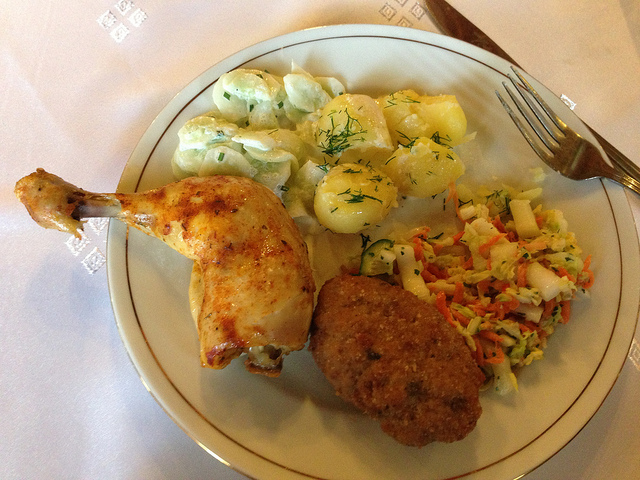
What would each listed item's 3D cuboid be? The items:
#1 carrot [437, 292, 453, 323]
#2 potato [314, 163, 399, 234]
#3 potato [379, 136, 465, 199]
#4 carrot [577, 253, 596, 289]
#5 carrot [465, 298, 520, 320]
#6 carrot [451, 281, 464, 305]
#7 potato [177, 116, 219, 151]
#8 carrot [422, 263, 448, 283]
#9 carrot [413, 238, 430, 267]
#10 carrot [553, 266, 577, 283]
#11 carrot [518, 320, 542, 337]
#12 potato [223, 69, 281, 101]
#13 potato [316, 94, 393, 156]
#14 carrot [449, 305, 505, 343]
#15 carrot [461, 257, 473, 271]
[{"bbox_3d":[0.609,0.335,2.944,0.048,0.050,0.162,-21,80,-3],"label":"carrot"},{"bbox_3d":[0.174,-0.216,3.011,0.378,0.140,0.346,15,78,7],"label":"potato"},{"bbox_3d":[0.539,-0.376,3.135,0.390,0.237,0.275,-3,60,-4],"label":"potato"},{"bbox_3d":[1.370,0.159,2.993,0.081,0.124,0.160,13,103,36],"label":"carrot"},{"bbox_3d":[0.868,0.330,2.955,0.129,0.177,0.067,-22,104,-40],"label":"carrot"},{"bbox_3d":[0.697,0.269,2.967,0.059,0.033,0.099,14,94,7],"label":"carrot"},{"bbox_3d":[-0.640,-0.555,3.018,0.217,0.058,0.166,-11,76,1],"label":"potato"},{"bbox_3d":[0.603,0.164,3.054,0.075,0.131,0.072,14,107,6],"label":"carrot"},{"bbox_3d":[0.529,0.061,3.020,0.086,0.031,0.127,-3,86,-18],"label":"carrot"},{"bbox_3d":[1.243,0.175,2.958,0.104,0.034,0.056,39,86,23],"label":"carrot"},{"bbox_3d":[1.047,0.445,2.936,0.086,0.079,0.026,3,118,11],"label":"carrot"},{"bbox_3d":[-0.391,-0.836,3.113,0.397,0.253,0.088,-14,93,-12],"label":"potato"},{"bbox_3d":[0.156,-0.603,3.044,0.384,0.128,0.298,-7,76,2],"label":"potato"},{"bbox_3d":[0.777,0.427,2.912,0.276,0.045,0.054,29,40,-1],"label":"carrot"},{"bbox_3d":[0.773,0.124,3.063,0.098,0.026,0.025,-41,68,-15],"label":"carrot"}]
